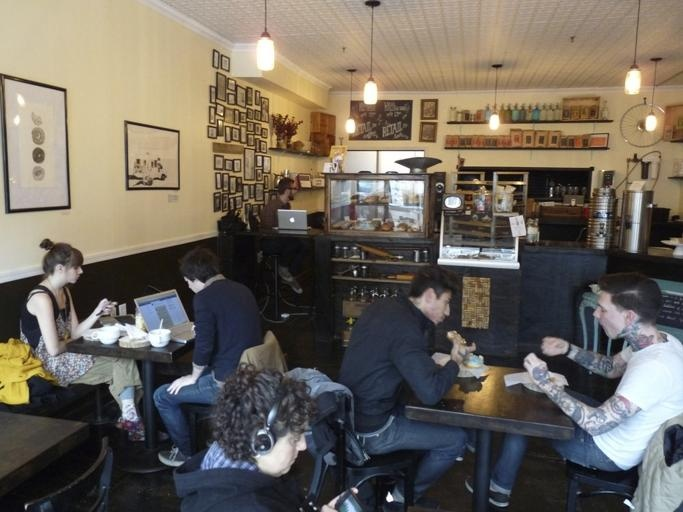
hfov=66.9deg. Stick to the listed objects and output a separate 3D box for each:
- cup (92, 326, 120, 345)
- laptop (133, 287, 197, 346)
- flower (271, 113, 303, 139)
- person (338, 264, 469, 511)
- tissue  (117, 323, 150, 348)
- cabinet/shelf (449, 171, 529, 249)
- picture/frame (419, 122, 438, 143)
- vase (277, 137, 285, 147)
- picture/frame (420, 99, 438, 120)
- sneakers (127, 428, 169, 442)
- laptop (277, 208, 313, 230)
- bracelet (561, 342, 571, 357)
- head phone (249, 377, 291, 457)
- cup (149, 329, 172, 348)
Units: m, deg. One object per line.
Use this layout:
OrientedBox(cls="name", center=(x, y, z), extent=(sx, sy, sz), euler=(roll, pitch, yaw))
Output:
OrientedBox(cls="cup", center=(-1.566, 0.510, 3.404), extent=(0.115, 0.086, 0.156), euler=(1, 3, -6))
OrientedBox(cls="laptop", center=(-1.256, 0.411, 3.650), extent=(0.256, 0.363, 0.427), euler=(-8, 1, 22))
OrientedBox(cls="flower", center=(-0.841, -1.904, 7.585), extent=(0.400, 0.319, 0.468), euler=(6, 6, 34))
OrientedBox(cls="person", center=(0.352, 0.729, 2.932), extent=(0.659, 1.309, 0.487), euler=(3, 9, 24))
OrientedBox(cls="tissue ", center=(-1.391, 0.523, 3.423), extent=(0.182, 0.061, 0.138), euler=(1, 2, 30))
OrientedBox(cls="cabinet/shelf", center=(1.426, -0.467, 5.188), extent=(0.712, 0.722, 0.280), euler=(2, 4, -7))
OrientedBox(cls="picture/frame", center=(1.540, -2.198, 9.094), extent=(0.360, 0.373, 0.041), euler=(2, 4, 6))
OrientedBox(cls="vase", center=(-0.891, -1.679, 7.582), extent=(0.117, 0.160, 0.116), euler=(3, 7, 10))
OrientedBox(cls="picture/frame", center=(1.534, -2.597, 9.039), extent=(0.370, 0.416, 0.030), euler=(1, 4, 7))
OrientedBox(cls="sneakers", center=(-1.402, 1.297, 3.714), extent=(0.149, 0.049, 0.216), euler=(2, 2, -7))
OrientedBox(cls="laptop", center=(-0.537, -0.490, 5.964), extent=(0.348, 0.225, 0.242), euler=(3, 13, 12))
OrientedBox(cls="bracelet", center=(1.349, 0.563, 3.122), extent=(0.027, 0.070, 0.054), euler=(11, 17, 15))
OrientedBox(cls="head phone", center=(-0.260, 0.584, 1.846), extent=(0.081, 0.236, 0.207), euler=(20, -21, 4))
OrientedBox(cls="cup", center=(-1.198, 0.540, 3.412), extent=(0.125, 0.084, 0.117), euler=(0, -3, 0))
